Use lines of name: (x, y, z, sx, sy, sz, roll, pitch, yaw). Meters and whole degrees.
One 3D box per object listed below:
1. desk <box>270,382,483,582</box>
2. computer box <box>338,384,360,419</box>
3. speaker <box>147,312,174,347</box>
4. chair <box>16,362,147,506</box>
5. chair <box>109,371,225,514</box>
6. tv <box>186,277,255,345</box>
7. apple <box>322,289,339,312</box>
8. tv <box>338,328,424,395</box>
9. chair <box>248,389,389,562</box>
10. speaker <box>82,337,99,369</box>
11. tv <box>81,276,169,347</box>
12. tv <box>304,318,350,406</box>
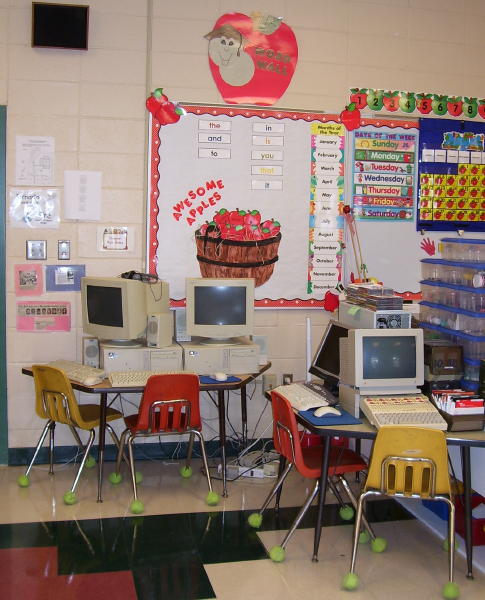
desk: (0.695, 0.742, 2.857, 0.832, 0.643, 0.906, 2, 1, -1)
computer box: (0.509, 0.473, 2.910, 0.116, 0.132, 0.205, -2, 9, -9)
speaker: (-0.529, 0.181, 3.888, 0.168, 0.211, 0.220, 1, 2, -10)
chair: (-0.880, 0.834, 3.674, 1.022, 0.731, 0.777, 2, -4, -30)
chair: (-0.477, 0.798, 3.628, 0.666, 0.744, 0.678, 0, -1, -7)
tv: (-0.189, 0.063, 4.094, 0.484, 0.422, 0.267, 0, -1, -22)
apple: (0.671, -0.002, 4.646, 0.105, 0.169, 0.069, 1, 2, 2)
tv: (0.645, 0.229, 2.915, 0.414, 0.321, 0.282, -1, 1, -11)
chair: (0.312, 0.851, 3.312, 0.816, 0.958, 0.659, -3, 6, -8)
speaker: (-0.972, 0.334, 3.919, 0.136, 0.235, 0.162, -1, 3, -24)
tv: (-0.743, 0.051, 3.952, 0.454, 0.392, 0.456, -1, 3, -38)
tv: (0.474, 0.348, 3.408, 0.132, 0.386, 0.393, 16, 16, -16)
